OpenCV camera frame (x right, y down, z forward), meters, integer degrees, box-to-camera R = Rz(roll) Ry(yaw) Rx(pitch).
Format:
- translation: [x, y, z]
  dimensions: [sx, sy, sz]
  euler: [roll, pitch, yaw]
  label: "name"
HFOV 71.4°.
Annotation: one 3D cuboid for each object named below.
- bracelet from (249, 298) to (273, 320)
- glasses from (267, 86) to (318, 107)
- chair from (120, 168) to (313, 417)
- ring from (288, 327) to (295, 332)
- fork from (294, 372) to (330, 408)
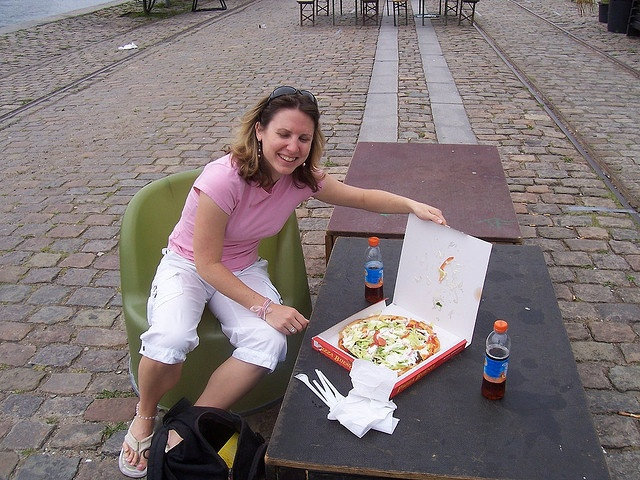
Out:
- translation: [-0.306, 0.356, 2.300]
  dimensions: [0.109, 0.031, 0.098]
  euler: [11, 50, -16]
  label: "bracelet"
- translation: [-0.152, -0.778, 2.330]
  dimensions: [0.241, 0.089, 0.281]
  euler: [-3, 29, -2]
  label: "glasses"
- translation: [-0.640, 0.468, 2.964]
  dimensions: [1.208, 1.531, 1.207]
  euler: [8, 27, 1]
  label: "chair"
- translation: [-0.142, 0.459, 2.263]
  dimensions: [0.021, 0.026, 0.012]
  euler: [-11, -8, -10]
  label: "ring"
- translation: [-0.032, 0.617, 1.844]
  dimensions: [0.060, 0.006, 0.213]
  euler: [-20, 27, -25]
  label: "fork"
